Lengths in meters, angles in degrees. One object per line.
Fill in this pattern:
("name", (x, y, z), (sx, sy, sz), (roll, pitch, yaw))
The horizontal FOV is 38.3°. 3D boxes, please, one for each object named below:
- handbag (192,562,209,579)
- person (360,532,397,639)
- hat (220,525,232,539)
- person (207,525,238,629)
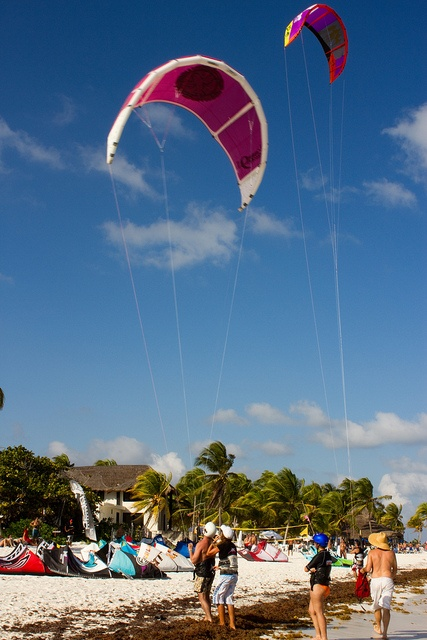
("handbag", (-0.197, 3.832, 9.524), (0.202, 0.353, 0.271), (-6, -19, -6))
("person", (2.434, 3.919, 9.042), (0.494, 1.463, 0.768), (-2, -15, 12))
("hat", (0.201, 3.279, 9.554), (0.152, 0.209, 0.109), (-2, -8, -17))
("person", (0.132, 3.926, 9.410), (0.460, 1.491, 0.464), (3, -15, -9))
